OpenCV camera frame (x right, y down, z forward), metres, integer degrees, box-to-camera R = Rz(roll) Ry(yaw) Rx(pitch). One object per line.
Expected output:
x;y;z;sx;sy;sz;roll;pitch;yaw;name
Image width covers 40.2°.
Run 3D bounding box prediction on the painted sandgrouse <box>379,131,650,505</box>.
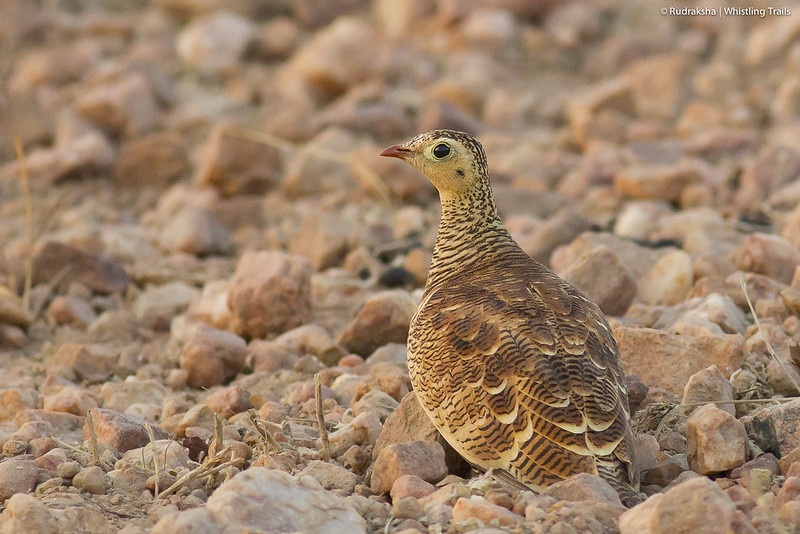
0.748;0.298;7.879;1.441;2.411;1.300;-12;3;9;painted sandgrouse
